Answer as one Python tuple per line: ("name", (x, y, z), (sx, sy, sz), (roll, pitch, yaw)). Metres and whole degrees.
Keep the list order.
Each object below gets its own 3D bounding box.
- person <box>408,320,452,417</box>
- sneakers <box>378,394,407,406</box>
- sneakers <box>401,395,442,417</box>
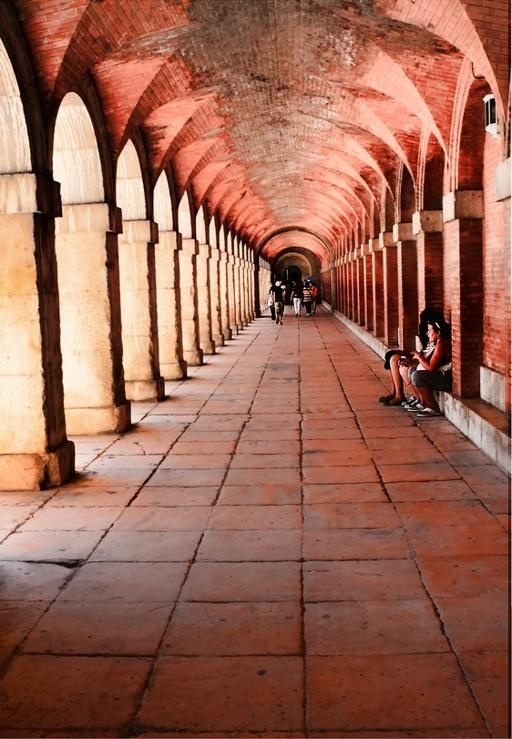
("person", (2.190, -0.024, 7.509), (0.490, 1.186, 0.450), (0, 8, 16))
("sneakers", (1.868, 0.427, 8.241), (0.383, 0.162, 0.131), (5, 2, 4))
("sneakers", (2.114, 0.467, 7.628), (0.500, 0.218, 0.171), (3, 10, 19))
